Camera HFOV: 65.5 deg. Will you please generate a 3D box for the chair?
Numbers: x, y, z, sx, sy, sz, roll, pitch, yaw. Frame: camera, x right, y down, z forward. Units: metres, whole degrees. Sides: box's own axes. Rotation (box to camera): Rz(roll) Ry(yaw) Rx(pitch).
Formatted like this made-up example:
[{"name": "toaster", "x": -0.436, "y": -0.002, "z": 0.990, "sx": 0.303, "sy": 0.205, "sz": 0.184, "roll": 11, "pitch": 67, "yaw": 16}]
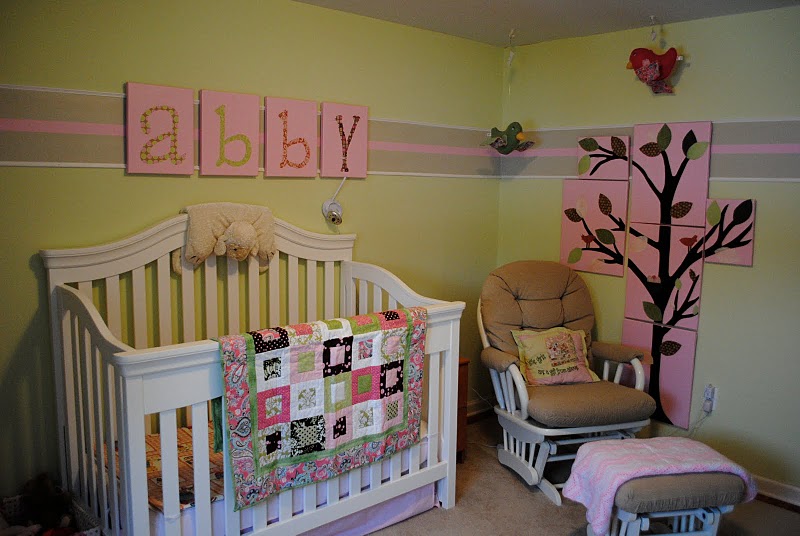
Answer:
[{"name": "chair", "x": 1.074, "y": 0.661, "z": 4.060, "sx": 1.118, "sy": 1.301, "sz": 1.266, "roll": 1, "pitch": 8, "yaw": 9}]
